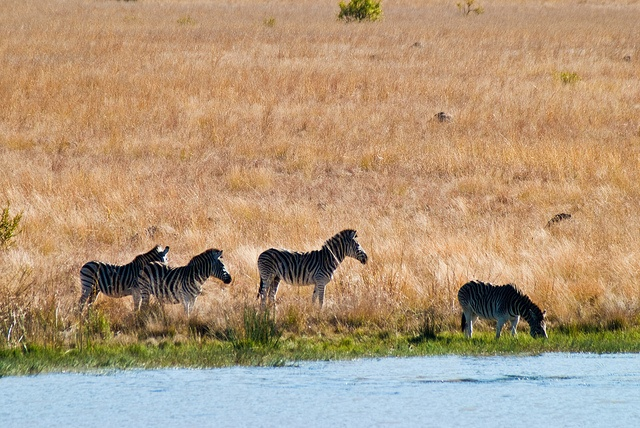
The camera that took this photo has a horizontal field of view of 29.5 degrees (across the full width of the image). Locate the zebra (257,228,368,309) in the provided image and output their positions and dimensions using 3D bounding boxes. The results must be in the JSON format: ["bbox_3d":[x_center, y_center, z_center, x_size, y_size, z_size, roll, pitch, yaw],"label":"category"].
[{"bbox_3d":[-0.217,1.755,39.718,3.553,3.049,1.169,3,18,3],"label":"zebra"}]

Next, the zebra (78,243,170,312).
[{"bbox_3d":[-6.277,2.218,39.312,2.991,2.400,0.966,0,-4,-7],"label":"zebra"}]

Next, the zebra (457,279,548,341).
[{"bbox_3d":[5.700,3.205,38.318,2.998,2.043,0.917,5,6,34],"label":"zebra"}]
